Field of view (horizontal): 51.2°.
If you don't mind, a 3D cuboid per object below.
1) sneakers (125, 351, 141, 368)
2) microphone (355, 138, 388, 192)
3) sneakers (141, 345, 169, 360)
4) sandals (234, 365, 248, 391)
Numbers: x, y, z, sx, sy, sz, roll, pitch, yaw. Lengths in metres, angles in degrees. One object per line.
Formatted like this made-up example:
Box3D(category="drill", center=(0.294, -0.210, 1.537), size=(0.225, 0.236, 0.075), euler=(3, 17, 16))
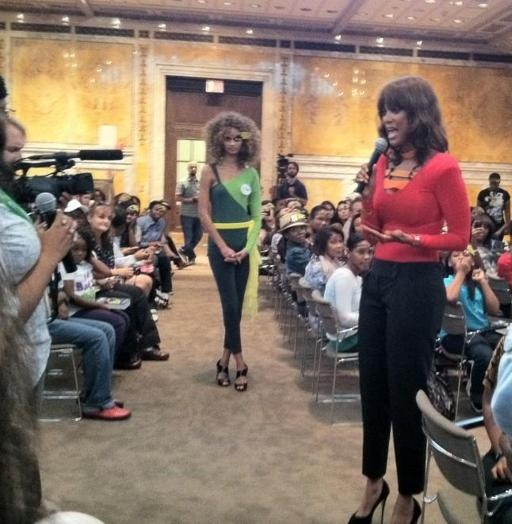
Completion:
Box3D(category="sneakers", center=(-1.095, 0.863, 4.715), size=(0.121, 0.126, 0.312), euler=(0, -11, -5))
Box3D(category="microphone", center=(0.497, -0.420, 2.294), size=(0.118, 0.257, 0.221), euler=(3, 6, 10))
Box3D(category="sneakers", center=(-0.956, 0.850, 5.065), size=(0.226, 0.118, 0.117), euler=(-1, 2, -7))
Box3D(category="sandals", center=(-0.122, 0.934, 4.261), size=(0.073, 0.059, 0.214), euler=(-3, 19, -2))
